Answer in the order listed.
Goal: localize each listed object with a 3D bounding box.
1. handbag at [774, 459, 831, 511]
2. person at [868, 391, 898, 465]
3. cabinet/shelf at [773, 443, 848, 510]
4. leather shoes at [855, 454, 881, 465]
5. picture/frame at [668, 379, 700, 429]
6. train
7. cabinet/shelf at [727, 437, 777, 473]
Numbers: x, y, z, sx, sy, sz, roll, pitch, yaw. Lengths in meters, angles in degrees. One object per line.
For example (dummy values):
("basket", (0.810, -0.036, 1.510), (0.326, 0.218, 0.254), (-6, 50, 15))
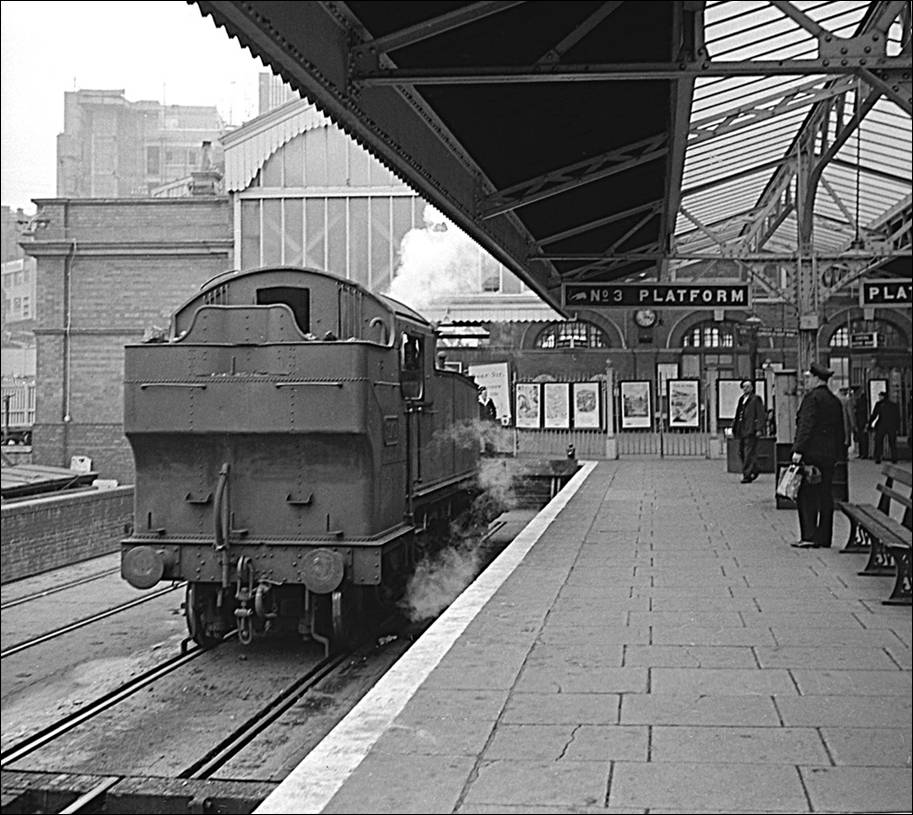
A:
("handbag", (3.784, 0.807, 11.932), (0.654, 0.875, 0.818), (1, 1, 16))
("person", (10.451, 0.423, 26.237), (0.626, 1.945, 0.539), (-5, 31, 15))
("cabinet/shelf", (4.188, 0.811, 12.618), (0.826, 1.037, 0.335), (0, -4, 6))
("leather shoes", (10.618, 1.362, 27.993), (0.134, 0.101, 0.598), (17, 8, -36))
("picture/frame", (6.658, -0.097, 31.274), (1.082, 2.021, 0.177), (-1, 4, 4))
("train", (-1.416, 0.236, 12.513), (2.095, 2.737, 4.762), (0, 4, 11))
("cabinet/shelf", (6.252, 0.821, 22.581), (0.964, 0.821, 0.624), (-3, -4, 42))
